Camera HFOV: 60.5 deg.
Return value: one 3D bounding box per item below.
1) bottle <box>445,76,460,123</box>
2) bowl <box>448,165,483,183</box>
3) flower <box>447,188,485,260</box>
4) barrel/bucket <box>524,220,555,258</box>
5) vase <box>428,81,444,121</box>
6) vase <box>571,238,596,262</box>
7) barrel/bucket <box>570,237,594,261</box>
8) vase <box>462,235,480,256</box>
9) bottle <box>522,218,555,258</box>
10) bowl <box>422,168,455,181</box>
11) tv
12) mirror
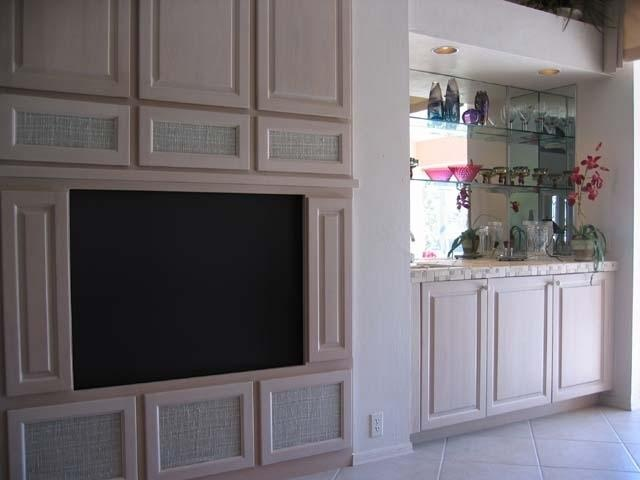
[{"bbox_3d":[0.961,-1.017,3.963,0.087,0.330,0.184,-1,4,31],"label":"bottle"},{"bbox_3d":[1.118,-0.523,4.217,0.159,0.075,0.167,-1,-3,0],"label":"bowl"},{"bbox_3d":[1.136,-0.149,4.295,0.351,0.582,0.102,-6,4,-38],"label":"flower"},{"bbox_3d":[1.708,-0.011,4.273,0.246,0.388,0.260,-1,-2,0],"label":"barrel/bucket"},{"bbox_3d":[0.813,-0.993,3.910,0.137,0.280,0.073,-5,4,-26],"label":"vase"},{"bbox_3d":[1.980,0.061,4.130,0.142,0.138,0.149,-1,-1,5],"label":"vase"},{"bbox_3d":[1.980,0.068,4.137,0.142,0.137,0.148,-1,0,0],"label":"barrel/bucket"},{"bbox_3d":[1.168,0.035,4.296,0.135,0.179,0.149,-1,0,0],"label":"vase"},{"bbox_3d":[1.740,-0.012,4.442,0.251,0.389,0.251,1,-1,0],"label":"bottle"},{"bbox_3d":[0.899,-0.504,4.155,0.249,0.110,0.051,-6,4,-26],"label":"bowl"},{"bbox_3d":[-0.750,0.264,2.887,1.050,0.882,0.038,0,-3,-26],"label":"tv"},{"bbox_3d":[1.328,-0.590,4.276,1.353,1.268,0.182,0,-1,-27],"label":"mirror"}]
